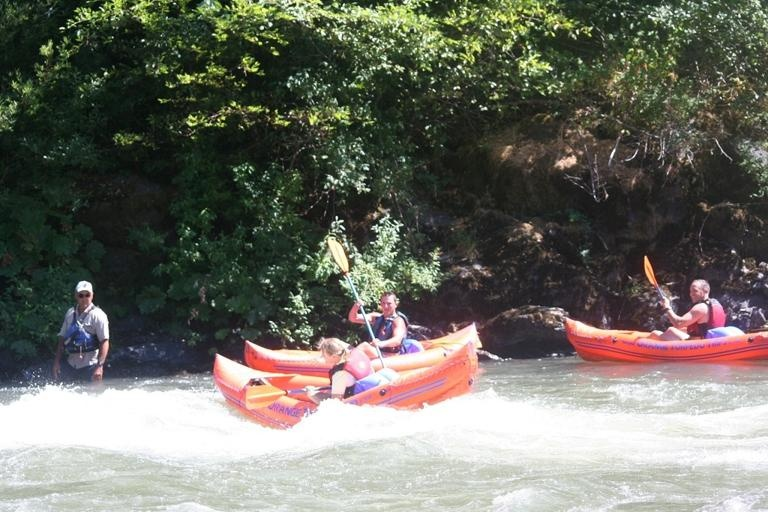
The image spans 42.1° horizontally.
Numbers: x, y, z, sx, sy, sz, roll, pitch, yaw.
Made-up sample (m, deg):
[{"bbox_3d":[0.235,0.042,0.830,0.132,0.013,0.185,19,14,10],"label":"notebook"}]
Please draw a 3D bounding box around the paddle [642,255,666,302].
[{"bbox_3d":[6.499,0.585,24.047,0.320,0.193,1.911,-41,-39,5],"label":"paddle"}]

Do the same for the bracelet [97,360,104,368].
[{"bbox_3d":[-5.347,2.036,18.664,0.090,0.114,0.157,3,6,20],"label":"bracelet"}]

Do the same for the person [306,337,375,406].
[{"bbox_3d":[-0.685,1.997,17.845,0.893,1.074,0.294,-2,-2,-29],"label":"person"}]

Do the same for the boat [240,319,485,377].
[{"bbox_3d":[-0.155,2.085,20.378,5.587,1.116,1.698,-2,-1,0],"label":"boat"}]

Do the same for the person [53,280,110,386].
[{"bbox_3d":[-5.698,1.413,18.643,1.016,1.835,0.349,-3,-2,15],"label":"person"}]

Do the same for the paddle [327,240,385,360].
[{"bbox_3d":[-0.617,0.956,21.682,0.319,2.694,0.094,-27,3,-21],"label":"paddle"}]

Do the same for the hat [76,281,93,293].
[{"bbox_3d":[-5.665,0.595,18.731,0.300,0.274,0.466,-4,-6,-14],"label":"hat"}]
